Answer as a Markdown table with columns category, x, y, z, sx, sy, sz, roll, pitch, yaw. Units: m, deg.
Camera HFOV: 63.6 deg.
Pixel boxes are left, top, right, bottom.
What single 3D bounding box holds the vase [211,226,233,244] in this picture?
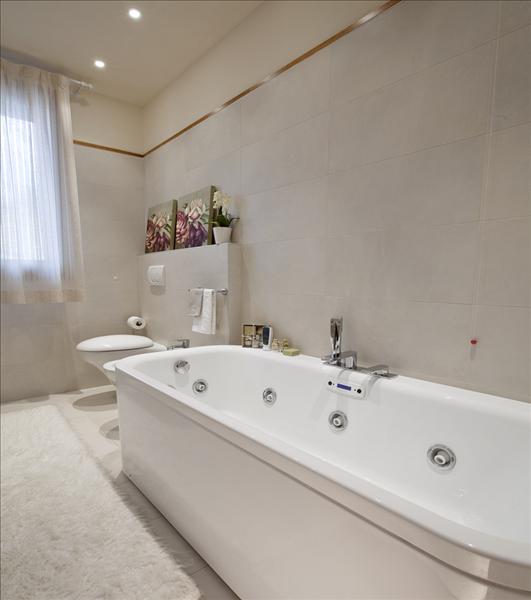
| category | x | y | z | sx | sy | sz | roll | pitch | yaw |
| --- | --- | --- | --- | --- | --- | --- | --- | --- | --- |
| vase | -0.271 | -0.403 | 2.676 | 0.106 | 0.095 | 0.103 | 3 | -5 | -32 |

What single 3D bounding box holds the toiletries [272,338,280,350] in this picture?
| category | x | y | z | sx | sy | sz | roll | pitch | yaw |
| --- | --- | --- | --- | --- | --- | --- | --- | --- | --- |
| toiletries | 0.056 | 0.239 | 2.292 | 0.039 | 0.052 | 0.042 | 6 | 11 | 32 |

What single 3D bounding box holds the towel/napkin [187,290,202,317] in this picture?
| category | x | y | z | sx | sy | sz | roll | pitch | yaw |
| --- | --- | --- | --- | --- | --- | --- | --- | --- | --- |
| towel/napkin | -0.437 | 0.029 | 2.713 | 0.050 | 0.160 | 0.106 | 8 | -7 | -36 |

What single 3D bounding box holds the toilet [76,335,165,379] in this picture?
| category | x | y | z | sx | sy | sz | roll | pitch | yaw |
| --- | --- | --- | --- | --- | --- | --- | --- | --- | --- |
| toilet | -1.024 | 0.316 | 2.990 | 0.471 | 0.328 | 0.346 | -5 | 10 | -43 |

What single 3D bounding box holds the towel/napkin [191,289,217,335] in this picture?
| category | x | y | z | sx | sy | sz | roll | pitch | yaw |
| --- | --- | --- | --- | --- | --- | --- | --- | --- | --- |
| towel/napkin | -0.373 | 0.069 | 2.668 | 0.062 | 0.324 | 0.238 | -2 | 3 | -40 |

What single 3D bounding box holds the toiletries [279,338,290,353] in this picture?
| category | x | y | z | sx | sy | sz | roll | pitch | yaw |
| --- | --- | --- | --- | --- | --- | --- | --- | --- | --- |
| toiletries | 0.113 | 0.251 | 2.300 | 0.047 | 0.106 | 0.050 | 2 | 5 | 25 |

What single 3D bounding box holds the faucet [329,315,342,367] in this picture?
| category | x | y | z | sx | sy | sz | roll | pitch | yaw |
| --- | --- | --- | --- | --- | --- | --- | --- | --- | --- |
| faucet | 0.320 | 0.186 | 1.950 | 0.047 | 0.238 | 0.034 | 2 | 22 | 13 |

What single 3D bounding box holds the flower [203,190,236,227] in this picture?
| category | x | y | z | sx | sy | sz | roll | pitch | yaw |
| --- | --- | --- | --- | --- | --- | --- | --- | --- | --- |
| flower | -0.269 | -0.533 | 2.714 | 0.148 | 0.256 | 0.121 | -10 | 1 | -44 |
